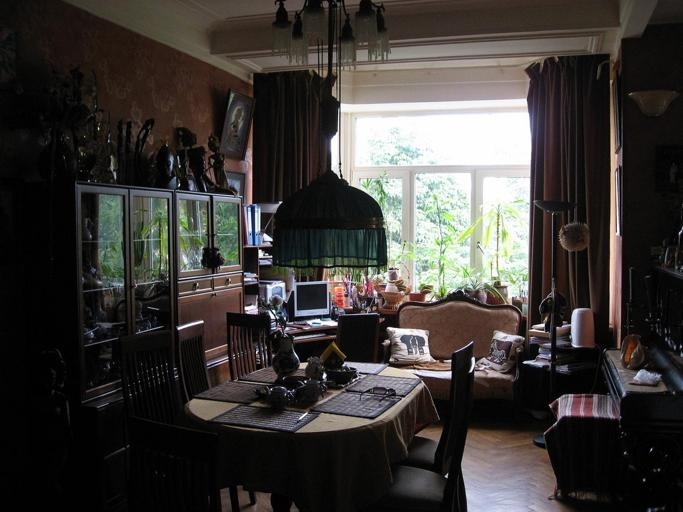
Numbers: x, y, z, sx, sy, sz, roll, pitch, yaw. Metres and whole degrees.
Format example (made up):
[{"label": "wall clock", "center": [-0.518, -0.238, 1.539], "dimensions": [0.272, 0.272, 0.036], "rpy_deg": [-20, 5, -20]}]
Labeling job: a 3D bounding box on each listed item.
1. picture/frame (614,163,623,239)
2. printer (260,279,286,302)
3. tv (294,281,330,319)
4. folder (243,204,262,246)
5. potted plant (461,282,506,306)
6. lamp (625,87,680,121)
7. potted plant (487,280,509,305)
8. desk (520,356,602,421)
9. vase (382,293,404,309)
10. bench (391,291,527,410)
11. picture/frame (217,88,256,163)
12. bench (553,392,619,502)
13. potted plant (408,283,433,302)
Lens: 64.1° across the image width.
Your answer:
[{"label": "picture/frame", "center": [2.509, -0.498, 4.947], "dimensions": [0.015, 0.607, 0.633], "rpy_deg": [0, 3, 24]}, {"label": "printer", "center": [-0.746, 0.368, 5.900], "dimensions": [0.182, 0.223, 0.307], "rpy_deg": [-1, -3, 16]}, {"label": "tv", "center": [-0.332, 0.489, 6.027], "dimensions": [0.366, 0.414, 0.134], "rpy_deg": [1, -4, -20]}, {"label": "folder", "center": [-0.914, -0.321, 5.791], "dimensions": [0.117, 0.425, 0.329], "rpy_deg": [0, 3, 20]}, {"label": "potted plant", "center": [1.656, 0.449, 6.288], "dimensions": [0.293, 0.266, 0.342], "rpy_deg": [3, -6, -25]}, {"label": "lamp", "center": [2.272, -1.108, 4.079], "dimensions": [0.305, 0.138, 0.329], "rpy_deg": [1, -4, 10]}, {"label": "potted plant", "center": [1.840, 0.420, 6.366], "dimensions": [0.231, 0.281, 0.240], "rpy_deg": [3, 4, 41]}, {"label": "desk", "center": [2.059, 1.237, 5.093], "dimensions": [0.569, 0.605, 0.343], "rpy_deg": [6, 1, 2]}, {"label": "vase", "center": [0.617, 0.525, 6.455], "dimensions": [0.197, 0.163, 0.200], "rpy_deg": [3, -9, -17]}, {"label": "bench", "center": [1.185, 0.791, 5.674], "dimensions": [1.420, 1.317, 0.878], "rpy_deg": [0, -6, 17]}, {"label": "picture/frame", "center": [-1.129, -1.412, 5.961], "dimensions": [0.152, 0.721, 0.507], "rpy_deg": [0, 3, 22]}, {"label": "bench", "center": [1.858, 1.460, 4.333], "dimensions": [0.550, 0.560, 0.780], "rpy_deg": [0, -4, 16]}, {"label": "potted plant", "center": [0.945, 0.439, 6.504], "dimensions": [0.212, 0.157, 0.202], "rpy_deg": [1, -7, -5]}]
